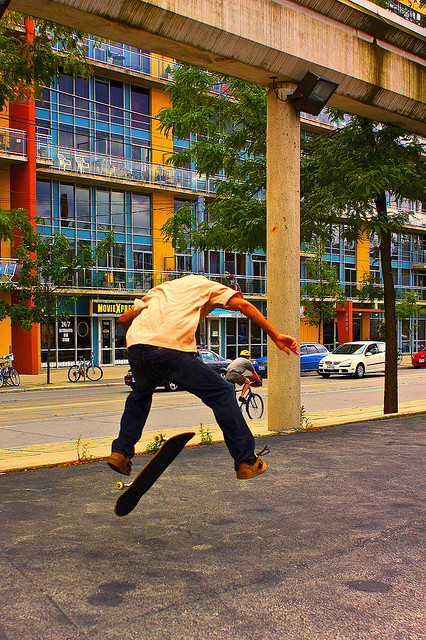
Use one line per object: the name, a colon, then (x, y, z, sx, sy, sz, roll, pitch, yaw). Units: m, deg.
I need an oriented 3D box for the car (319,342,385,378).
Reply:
car: (5.201, 1.478, 28.260, 1.190, 0.847, 2.383, -3, -5, 40)

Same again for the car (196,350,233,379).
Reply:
car: (-0.288, 1.430, 24.057, 1.722, 0.623, 0.750, -1, 4, -42)

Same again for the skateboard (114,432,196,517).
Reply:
skateboard: (-0.395, 1.091, 5.248, 0.801, 0.111, 0.199, -47, -31, 17)

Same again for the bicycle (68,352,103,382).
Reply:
bicycle: (-4.300, 1.747, 25.792, 1.081, 0.846, 0.635, -2, 5, -6)

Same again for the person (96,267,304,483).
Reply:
person: (-0.175, 0.290, 4.846, 1.263, 1.377, 0.952, -5, -16, 26)

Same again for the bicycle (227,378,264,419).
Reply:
bicycle: (0.663, 1.416, 14.601, 0.448, 0.368, 0.731, -25, -6, 19)
